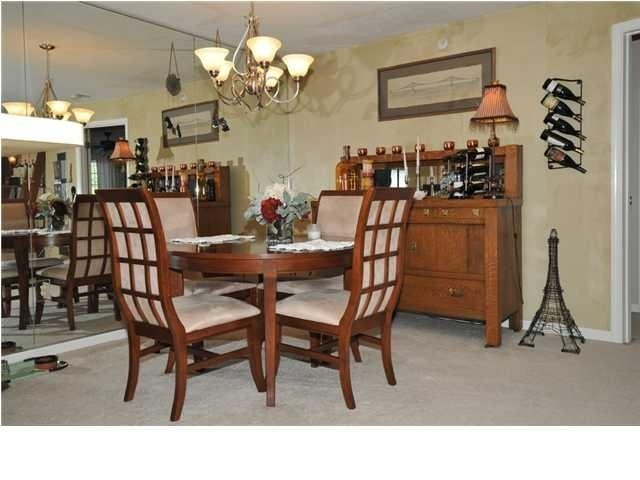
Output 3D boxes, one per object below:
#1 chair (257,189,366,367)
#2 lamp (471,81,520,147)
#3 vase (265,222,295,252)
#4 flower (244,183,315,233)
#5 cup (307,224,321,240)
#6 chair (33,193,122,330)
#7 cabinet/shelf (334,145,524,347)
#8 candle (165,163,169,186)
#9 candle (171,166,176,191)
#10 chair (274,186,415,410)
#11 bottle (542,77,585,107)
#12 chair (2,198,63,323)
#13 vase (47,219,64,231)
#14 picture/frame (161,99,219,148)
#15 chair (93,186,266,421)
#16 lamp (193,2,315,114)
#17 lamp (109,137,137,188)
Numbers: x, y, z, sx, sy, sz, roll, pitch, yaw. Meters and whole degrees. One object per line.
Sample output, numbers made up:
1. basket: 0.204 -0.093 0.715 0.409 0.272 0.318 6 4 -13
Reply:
1. chair: 0.111 0.406 3.998 0.926 1.474 0.862 2 6 24
2. lamp: 1.437 -1.031 4.110 0.444 0.493 0.409 0 8 -3
3. vase: -0.228 -0.015 3.120 0.181 0.192 0.177 0 1 14
4. flower: -0.215 -0.246 3.249 0.355 0.243 0.346 3 12 39
5. cup: -0.036 -0.060 3.352 0.096 0.101 0.093 1 -1 0
6. chair: -2.008 0.168 4.148 0.513 1.014 0.606 -2 4 19
7. cabinet/shelf: 0.974 -0.027 4.585 1.647 1.525 0.613 4 7 42
8. candle: -1.416 -0.590 4.663 0.023 0.213 0.067 1 8 14
9. candle: -1.368 -0.568 4.743 0.040 0.189 0.076 2 -12 -14
10. chair: 0.112 0.303 3.114 0.885 1.236 0.910 -2 7 -29
11. bottle: 2.004 -1.222 4.122 0.312 0.233 0.143 2 8 26
12. chair: -2.182 0.188 3.763 0.296 0.942 0.153 -4 8 -25
13. vase: -2.047 -0.117 3.901 0.153 0.078 0.083 -2 9 -25
14. picture/frame: -1.237 -1.133 4.861 0.023 0.501 0.727 4 8 34
15. chair: -0.811 0.343 3.060 0.954 1.254 0.804 -2 3 -31
16. lamp: -0.622 -1.672 4.532 1.097 0.997 1.158 2 0 10
17. lamp: -1.719 -0.730 4.372 0.222 0.305 0.186 9 25 3
